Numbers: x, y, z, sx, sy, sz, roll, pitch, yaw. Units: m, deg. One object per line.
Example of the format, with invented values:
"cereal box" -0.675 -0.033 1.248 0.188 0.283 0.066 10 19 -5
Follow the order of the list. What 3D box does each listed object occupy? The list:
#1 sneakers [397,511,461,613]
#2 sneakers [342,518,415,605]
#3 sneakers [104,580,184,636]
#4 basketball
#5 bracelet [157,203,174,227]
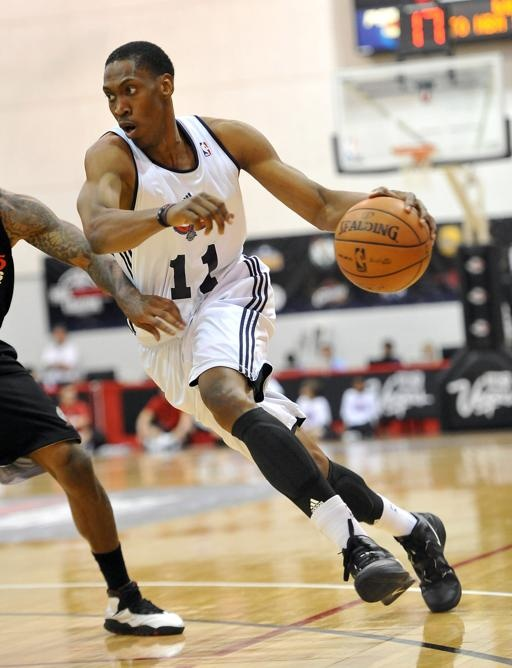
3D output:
"sneakers" 0.505 0.714 2.223 0.117 0.150 0.336 -34 29 19
"sneakers" 0.276 0.523 1.678 0.120 0.086 0.264 31 0 5
"sneakers" -0.321 0.786 2.066 0.300 0.147 0.096 -1 -8 13
"basketball" 0.376 -0.258 2.143 0.300 0.281 0.276 -16 29 -29
"bracelet" -0.218 -0.281 1.705 0.022 0.047 0.050 0 0 32
